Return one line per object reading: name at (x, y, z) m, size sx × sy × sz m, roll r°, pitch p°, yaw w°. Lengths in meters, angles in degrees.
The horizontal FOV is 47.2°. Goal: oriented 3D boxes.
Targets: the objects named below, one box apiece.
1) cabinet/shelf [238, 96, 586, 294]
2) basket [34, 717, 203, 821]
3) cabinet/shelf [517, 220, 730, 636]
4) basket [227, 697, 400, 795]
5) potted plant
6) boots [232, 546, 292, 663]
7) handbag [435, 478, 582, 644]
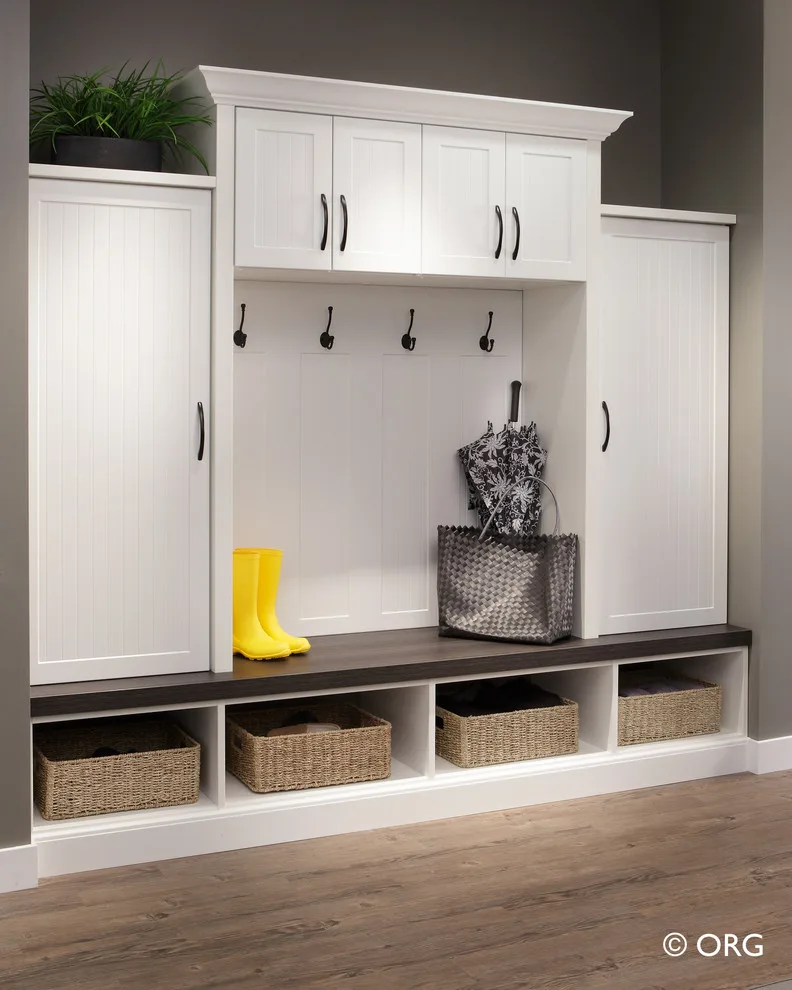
cabinet/shelf at (0.051, -0.869, 2.655) m, size 1.121 × 0.437 × 0.195 m, roll -4°, pitch 11°, yaw -22°
basket at (-0.758, 0.721, 2.475) m, size 0.426 × 0.176 × 0.459 m, roll -2°, pitch 4°, yaw -22°
cabinet/shelf at (0.970, -0.217, 3.150) m, size 0.487 × 1.074 × 0.366 m, roll -4°, pitch -17°, yaw 40°
basket at (-0.285, 0.681, 2.593) m, size 0.268 × 0.122 × 0.265 m, roll 2°, pitch -3°, yaw -36°
potted plant at (-0.752, -1.036, 2.448) m, size 0.445 × 0.392 × 0.331 m, roll -2°, pitch 4°, yaw -22°
boots at (-0.388, 0.314, 2.570) m, size 0.189 × 0.299 × 0.109 m, roll 1°, pitch 4°, yaw 21°
handbag at (0.361, 0.187, 2.956) m, size 0.446 × 0.570 × 0.221 m, roll 1°, pitch -1°, yaw 25°
